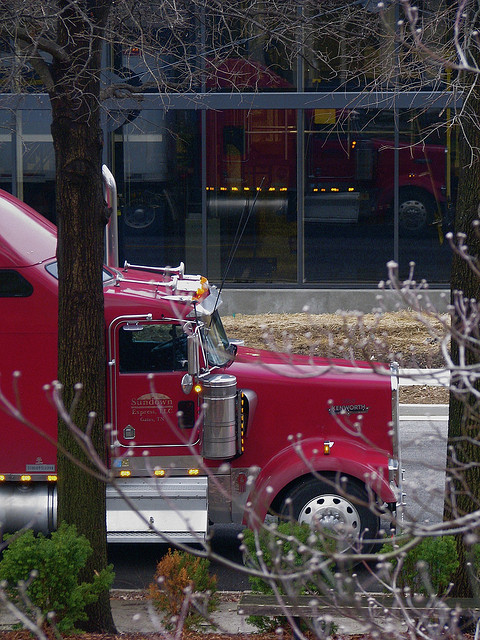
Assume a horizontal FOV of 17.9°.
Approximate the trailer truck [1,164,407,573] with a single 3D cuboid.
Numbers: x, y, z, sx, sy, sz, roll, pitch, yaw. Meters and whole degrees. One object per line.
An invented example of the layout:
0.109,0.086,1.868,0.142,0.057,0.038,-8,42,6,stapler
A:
-1.112,0.726,10.748,4.578,2.705,1.678,-1,7,0,trailer truck
